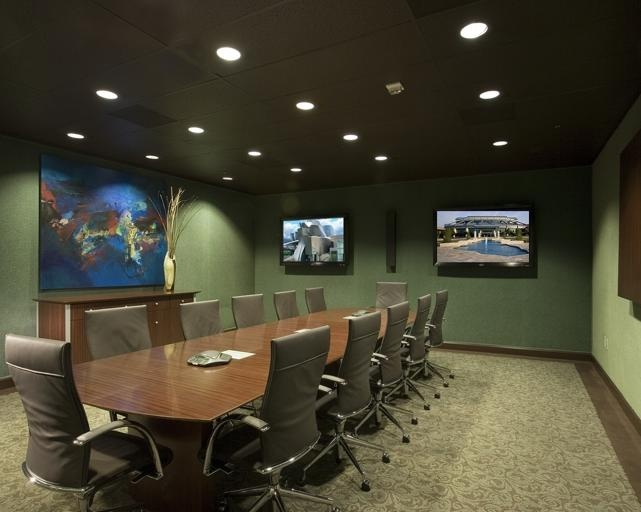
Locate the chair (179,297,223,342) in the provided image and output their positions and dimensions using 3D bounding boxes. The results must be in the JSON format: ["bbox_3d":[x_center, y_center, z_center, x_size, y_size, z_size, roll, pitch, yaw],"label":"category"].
[{"bbox_3d":[-1.298,0.666,4.570,0.377,0.688,0.361,0,-2,-44],"label":"chair"}]

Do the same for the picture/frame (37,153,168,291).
[{"bbox_3d":[-3.058,-0.475,5.803,0.061,1.759,1.731,-2,-3,29],"label":"picture/frame"}]

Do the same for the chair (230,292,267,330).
[{"bbox_3d":[-0.935,0.688,5.300,0.386,0.559,0.384,-2,-1,-44],"label":"chair"}]

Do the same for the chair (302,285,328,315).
[{"bbox_3d":[-0.042,0.658,6.341,0.367,0.604,0.324,0,-4,-44],"label":"chair"}]

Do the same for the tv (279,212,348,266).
[{"bbox_3d":[-0.026,-0.331,8.384,1.362,1.099,0.798,-1,-3,17],"label":"tv"}]

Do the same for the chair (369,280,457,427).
[{"bbox_3d":[0.940,0.956,4.538,1.089,1.547,1.203,-2,-1,36],"label":"chair"}]

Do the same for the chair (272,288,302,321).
[{"bbox_3d":[-0.454,0.661,5.787,0.328,0.504,0.356,-2,-1,-41],"label":"chair"}]

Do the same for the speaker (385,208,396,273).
[{"bbox_3d":[1.274,-0.255,7.503,0.181,1.108,0.144,0,4,1],"label":"speaker"}]

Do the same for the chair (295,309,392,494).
[{"bbox_3d":[0.141,1.134,3.946,1.048,1.778,1.089,-2,-4,27],"label":"chair"}]
